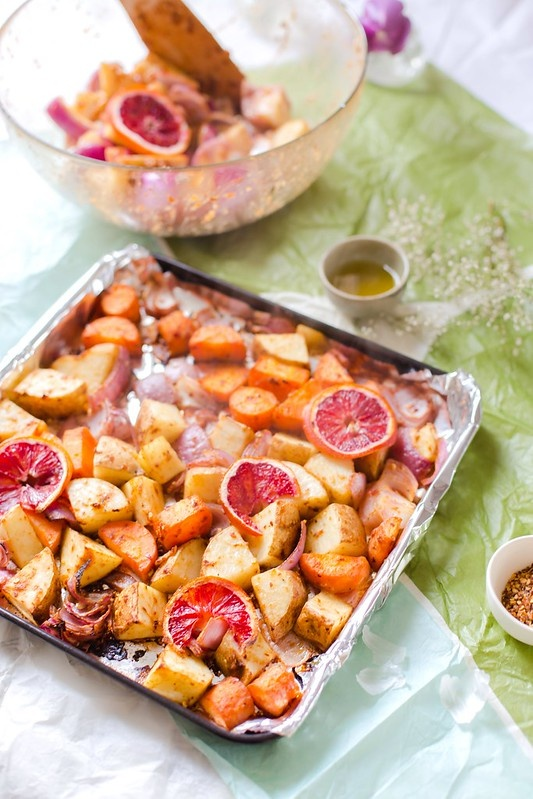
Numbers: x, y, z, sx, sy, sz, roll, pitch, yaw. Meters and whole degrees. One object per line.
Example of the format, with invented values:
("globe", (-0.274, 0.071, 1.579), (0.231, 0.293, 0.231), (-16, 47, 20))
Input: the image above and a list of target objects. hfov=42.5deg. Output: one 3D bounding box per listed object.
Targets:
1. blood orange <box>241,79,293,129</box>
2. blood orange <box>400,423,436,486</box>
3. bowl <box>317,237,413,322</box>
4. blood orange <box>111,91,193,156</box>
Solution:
("blood orange", (0.000, -0.769, 1.802), (0.129, 0.047, 0.127), (-18, 78, -15))
("blood orange", (0.282, 0.109, 1.345), (0.037, 0.077, 0.103), (-13, 86, 4))
("bowl", (0.233, -0.289, 1.577), (0.194, 0.143, 0.193), (-1, 70, 1))
("blood orange", (-0.286, -0.672, 1.683), (0.185, 0.103, 0.202), (1, 46, 0))
